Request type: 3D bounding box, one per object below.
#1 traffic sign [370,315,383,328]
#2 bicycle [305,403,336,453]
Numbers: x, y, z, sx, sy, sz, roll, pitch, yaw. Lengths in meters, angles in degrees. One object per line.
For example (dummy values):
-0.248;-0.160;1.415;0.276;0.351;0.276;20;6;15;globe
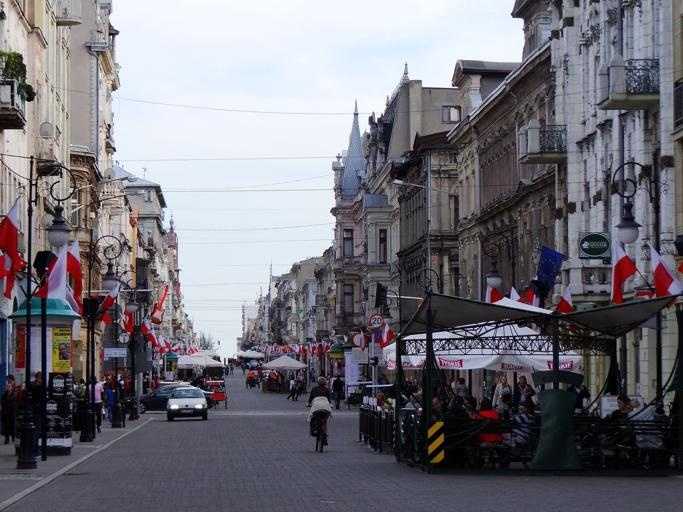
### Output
1.464;2.632;62.379;0.487;0.505;0.486;-2;2;-38;traffic sign
-0.605;5.038;46.680;0.646;1.723;1.357;0;-12;-1;bicycle
